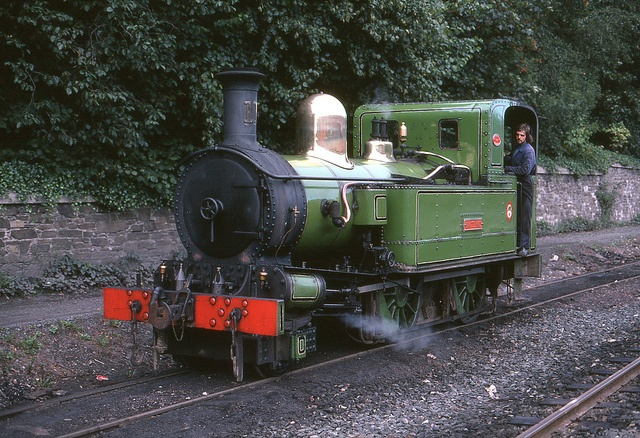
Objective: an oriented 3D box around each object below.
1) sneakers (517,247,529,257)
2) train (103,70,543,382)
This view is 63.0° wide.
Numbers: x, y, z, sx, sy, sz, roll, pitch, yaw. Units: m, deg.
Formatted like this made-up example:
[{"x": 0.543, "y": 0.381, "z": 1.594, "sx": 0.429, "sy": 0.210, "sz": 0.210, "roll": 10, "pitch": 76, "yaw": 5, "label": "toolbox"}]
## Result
[{"x": 4.448, "y": 0.705, "z": 11.464, "sx": 0.145, "sy": 0.176, "sz": 0.250, "roll": -2, "pitch": -7, "yaw": 19, "label": "sneakers"}, {"x": 0.803, "y": -0.018, "z": 10.278, "sx": 3.744, "sy": 4.647, "sz": 8.457, "roll": -1, "pitch": -1, "yaw": 36, "label": "train"}]
